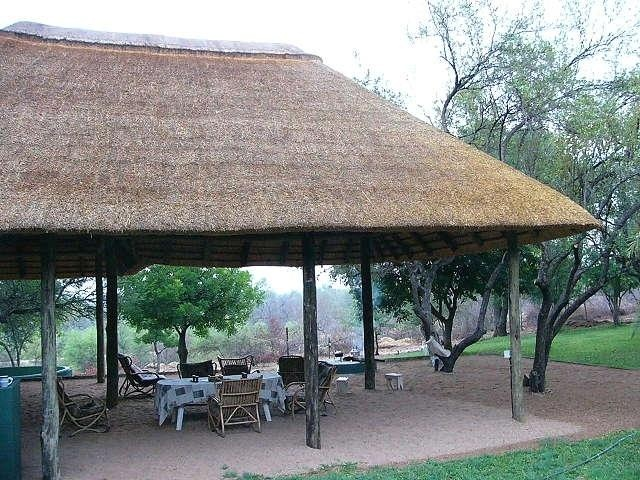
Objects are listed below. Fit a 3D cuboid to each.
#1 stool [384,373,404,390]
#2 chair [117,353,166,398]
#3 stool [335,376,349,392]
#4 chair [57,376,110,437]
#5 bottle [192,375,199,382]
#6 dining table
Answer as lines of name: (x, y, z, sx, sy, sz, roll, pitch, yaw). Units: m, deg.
stool: (2.049, 3.913, 16.256, 0.416, 0.623, 0.621, 10, -16, -41)
chair: (-4.721, 3.543, 15.626, 1.137, 1.111, 0.777, 0, -3, -20)
stool: (0.588, 3.823, 15.608, 0.355, 0.399, 0.409, -3, -4, 6)
chair: (-4.768, 3.240, 11.681, 1.047, 1.098, 0.853, 0, -2, -21)
bottle: (-2.555, 2.833, 12.046, 0.129, 0.156, 0.136, -1, -7, -6)
dining table: (-2.123, 3.363, 12.508, 2.710, 1.014, 2.923, -2, -8, -17)
